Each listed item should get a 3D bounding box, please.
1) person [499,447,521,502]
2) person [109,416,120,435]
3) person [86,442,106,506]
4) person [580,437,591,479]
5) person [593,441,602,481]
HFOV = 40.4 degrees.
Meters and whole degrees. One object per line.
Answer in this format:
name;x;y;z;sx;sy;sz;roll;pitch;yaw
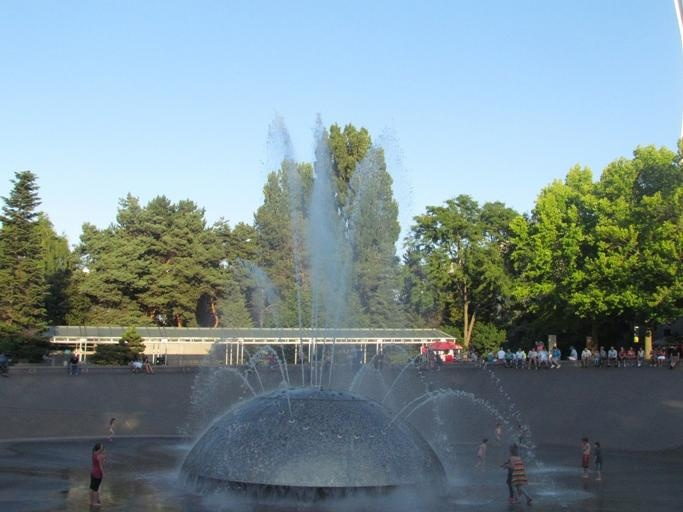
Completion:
person;6.586;8.268;35.425;0.748;2.060;1.552;-1;-9;9
person;-10.577;7.954;43.171;0.287;0.281;0.868;-4;21;-6
person;-9.090;8.101;34.411;0.474;2.201;1.577;2;-9;-15
person;10.165;8.379;38.625;0.395;1.604;2.670;-2;-10;14
person;10.416;8.380;37.863;0.301;1.460;1.463;-2;-10;14
